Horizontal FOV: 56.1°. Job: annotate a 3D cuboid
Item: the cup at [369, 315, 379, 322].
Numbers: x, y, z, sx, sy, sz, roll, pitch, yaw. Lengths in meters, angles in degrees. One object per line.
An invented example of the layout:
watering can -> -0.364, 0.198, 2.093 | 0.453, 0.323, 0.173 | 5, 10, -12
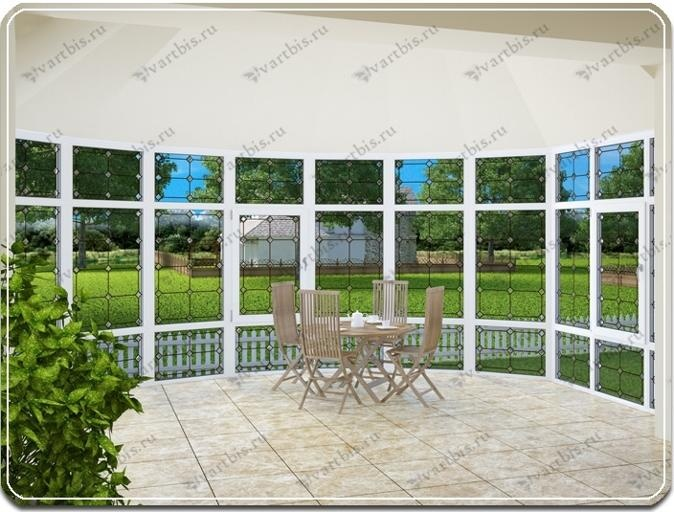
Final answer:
cup -> 0.538, 0.899, 9.151 | 0.080, 0.064, 0.087 | 0, 1, 0

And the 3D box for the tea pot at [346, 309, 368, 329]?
tea pot -> 0.318, 0.922, 9.001 | 0.226, 0.230, 0.180 | 1, -2, -5

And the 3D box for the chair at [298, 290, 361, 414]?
chair -> -0.118, 1.208, 8.703 | 0.776, 1.647, 1.289 | 0, 4, 2

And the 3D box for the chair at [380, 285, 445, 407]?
chair -> 1.069, 1.179, 8.651 | 0.758, 1.663, 0.790 | 1, 2, -43

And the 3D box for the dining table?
dining table -> 0.169, 1.555, 8.690 | 1.469, 0.837, 1.033 | -3, -26, -22
